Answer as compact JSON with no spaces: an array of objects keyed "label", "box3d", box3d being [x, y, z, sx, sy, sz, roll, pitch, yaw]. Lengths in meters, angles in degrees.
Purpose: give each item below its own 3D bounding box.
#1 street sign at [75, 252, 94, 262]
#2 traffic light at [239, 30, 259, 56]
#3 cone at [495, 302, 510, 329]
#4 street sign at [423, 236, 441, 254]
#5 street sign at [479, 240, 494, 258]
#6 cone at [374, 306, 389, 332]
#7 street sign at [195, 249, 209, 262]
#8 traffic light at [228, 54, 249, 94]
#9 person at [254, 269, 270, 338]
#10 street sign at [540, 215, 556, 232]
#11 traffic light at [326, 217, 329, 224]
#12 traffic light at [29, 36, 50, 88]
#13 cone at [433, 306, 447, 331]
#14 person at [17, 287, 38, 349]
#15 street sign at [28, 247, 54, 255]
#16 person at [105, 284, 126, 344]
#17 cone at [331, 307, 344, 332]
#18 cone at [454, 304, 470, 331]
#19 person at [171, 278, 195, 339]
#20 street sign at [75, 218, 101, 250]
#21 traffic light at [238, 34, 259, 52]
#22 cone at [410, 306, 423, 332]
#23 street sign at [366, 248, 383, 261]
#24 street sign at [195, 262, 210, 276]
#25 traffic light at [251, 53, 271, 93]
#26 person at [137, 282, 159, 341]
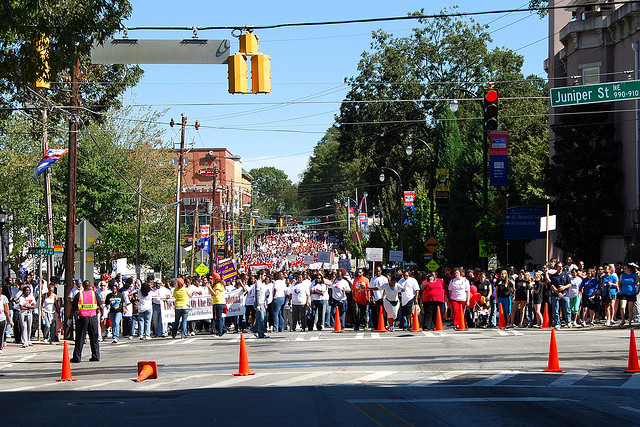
[{"label":"street sign","box3d":[-10.358,1.871,43.756,0.774,0.196,0.852,-3,-6,13]},{"label":"traffic light","box3d":[-2.287,-5.477,31.785,0.561,0.802,0.375,-3,-5,-4]},{"label":"cone","box3d":[7.472,4.135,40.728,0.293,1.044,0.498,-6,-6,38]},{"label":"street sign","box3d":[6.389,1.762,56.353,1.153,1.167,0.126,3,-7,-13]},{"label":"street sign","box3d":[8.528,1.829,52.227,0.812,0.764,0.188,2,2,-18]},{"label":"cone","box3d":[2.510,4.300,40.890,0.595,1.033,0.935,-3,-5,4]},{"label":"street sign","box3d":[-7.317,2.577,61.932,1.176,1.042,0.486,-1,-9,7]},{"label":"traffic light","box3d":[-2.620,-4.454,31.681,0.596,1.268,0.340,-3,-5,4]},{"label":"person","box3d":[-2.295,3.518,39.253,0.489,2.712,0.868,-3,-5,-5]},{"label":"street sign","box3d":[10.241,0.416,44.300,0.155,0.630,0.667,5,-2,-44]},{"label":"traffic light","box3d":[1.126,0.856,146.948,0.765,1.095,0.483,0,3,26]},{"label":"traffic light","box3d":[-8.555,-4.660,30.375,0.582,1.239,1.370,-2,-5,-16]},{"label":"cone","box3d":[4.749,4.217,40.237,0.379,0.982,0.664,-3,-5,6]},{"label":"person","box3d":[-11.587,4.097,39.326,0.696,2.399,1.095,-1,-5,-18]},{"label":"street sign","box3d":[-11.833,1.527,42.270,0.989,0.350,1.611,-2,-6,-14]},{"label":"person","box3d":[-8.323,4.023,40.283,0.749,2.357,1.439,-3,-5,-3]},{"label":"cone","box3d":[0.733,4.363,41.143,0.469,1.010,0.777,-3,-5,0]},{"label":"cone","box3d":[5.714,4.171,40.385,0.295,1.017,0.282,-2,-5,-5]},{"label":"person","box3d":[-5.663,3.846,40.628,0.801,2.472,0.908,-2,-5,-8]},{"label":"street sign","box3d":[-9.496,0.849,40.160,1.341,1.314,0.063,-2,-6,15]},{"label":"traffic light","box3d":[-2.268,-5.462,31.536,0.583,0.657,0.848,-2,-5,-6]},{"label":"cone","box3d":[3.858,4.225,40.092,0.500,1.027,0.779,-3,-5,5]},{"label":"street sign","box3d":[3.257,2.441,59.917,0.830,0.601,0.107,-5,9,-26]},{"label":"street sign","box3d":[-6.444,2.993,54.287,0.610,0.679,1.947,-2,-5,-7]},{"label":"traffic light","box3d":[-1.878,-4.448,31.531,0.569,1.316,0.413,-3,-5,-5]},{"label":"person","box3d":[-7.145,3.992,40.919,0.755,2.363,1.542,-2,-5,-10]}]
